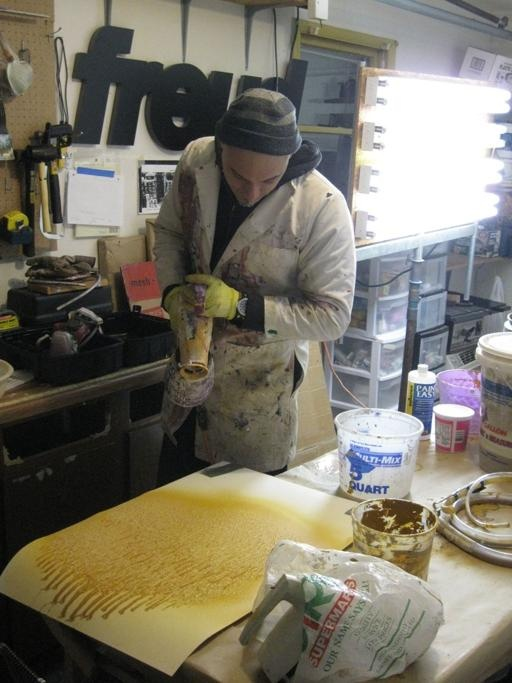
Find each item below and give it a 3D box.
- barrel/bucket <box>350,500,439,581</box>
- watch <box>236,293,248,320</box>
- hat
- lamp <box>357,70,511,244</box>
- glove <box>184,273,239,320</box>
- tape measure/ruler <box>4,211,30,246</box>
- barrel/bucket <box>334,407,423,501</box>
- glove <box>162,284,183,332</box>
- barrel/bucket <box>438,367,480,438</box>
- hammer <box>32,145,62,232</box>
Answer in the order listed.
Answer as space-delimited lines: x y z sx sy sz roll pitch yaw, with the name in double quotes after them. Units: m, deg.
0.194 0.284 0.773 0.116 0.098 0.136 2 12 11 "barrel/bucket"
-0.030 -0.080 1.299 0.020 0.046 0.037 6 2 -2 "watch"
0.016 -0.449 1.141 0.160 0.091 0.169 7 30 -14 "hat"
0.761 -0.785 2.375 0.236 0.699 1.070 11 16 41 "lamp"
-0.092 -0.100 1.258 0.121 0.083 0.116 15 -20 8 "glove"
-0.891 -0.426 2.118 0.116 0.122 0.139 -9 29 -26 "tape measure/ruler"
0.234 0.223 1.140 0.175 0.133 0.187 0 13 0 "barrel/bucket"
-0.199 -0.082 1.350 0.036 0.106 0.081 8 -13 -25 "glove"
0.530 0.166 1.464 0.150 0.151 0.154 -1 7 0 "barrel/bucket"
-0.806 -0.586 2.164 0.099 0.327 0.211 -4 12 -18 "hammer"
